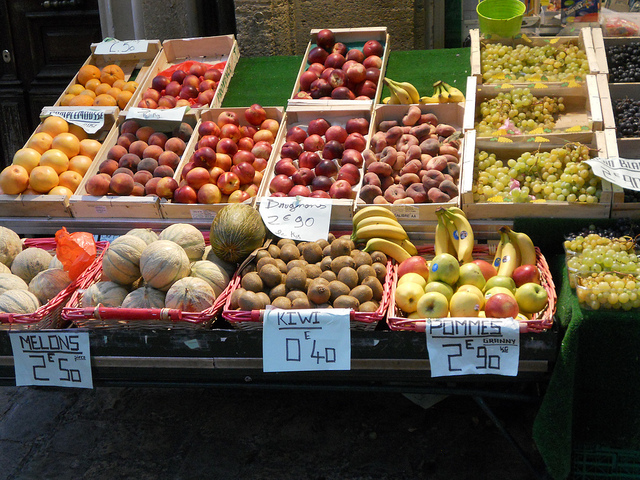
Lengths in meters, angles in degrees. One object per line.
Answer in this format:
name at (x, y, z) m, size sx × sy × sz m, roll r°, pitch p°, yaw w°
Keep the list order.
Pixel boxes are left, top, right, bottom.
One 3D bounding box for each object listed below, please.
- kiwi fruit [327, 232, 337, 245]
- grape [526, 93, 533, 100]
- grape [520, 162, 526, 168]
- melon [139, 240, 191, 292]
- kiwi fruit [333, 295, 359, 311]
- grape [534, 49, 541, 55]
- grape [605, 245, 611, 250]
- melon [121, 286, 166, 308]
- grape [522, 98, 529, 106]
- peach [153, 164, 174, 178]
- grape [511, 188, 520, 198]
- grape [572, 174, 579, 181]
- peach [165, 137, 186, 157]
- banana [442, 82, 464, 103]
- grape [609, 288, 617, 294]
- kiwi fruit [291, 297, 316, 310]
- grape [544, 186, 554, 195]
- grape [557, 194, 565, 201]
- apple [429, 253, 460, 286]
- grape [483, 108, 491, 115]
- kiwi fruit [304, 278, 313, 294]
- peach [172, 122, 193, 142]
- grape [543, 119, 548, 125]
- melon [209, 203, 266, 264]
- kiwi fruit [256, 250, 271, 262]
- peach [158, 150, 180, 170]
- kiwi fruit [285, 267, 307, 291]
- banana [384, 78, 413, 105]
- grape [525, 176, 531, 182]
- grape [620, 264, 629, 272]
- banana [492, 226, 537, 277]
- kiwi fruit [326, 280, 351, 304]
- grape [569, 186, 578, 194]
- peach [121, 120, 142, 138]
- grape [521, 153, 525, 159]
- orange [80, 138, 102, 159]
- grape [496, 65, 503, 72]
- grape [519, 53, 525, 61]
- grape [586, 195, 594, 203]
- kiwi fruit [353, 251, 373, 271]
kiwi fruit at (0.069, -0.010, 2.911) m, size 0.056 × 0.049 × 0.080 m, roll -1°, pitch 2°, yaw -2°
grape at (1.422, -0.982, 3.465) m, size 0.029 × 0.045 × 0.031 m, roll -18°, pitch 22°, yaw -11°
grape at (1.232, -0.460, 3.102) m, size 0.030 × 0.031 × 0.035 m, roll -37°, pitch 18°, yaw 13°
melon at (-0.829, 0.176, 2.776) m, size 0.234 × 0.284 × 0.248 m, roll 9°, pitch -16°, yaw -36°
kiwi fruit at (0.131, 0.302, 2.505) m, size 0.088 × 0.077 × 0.070 m, roll 1°, pitch 1°, yaw 13°
grape at (1.619, -1.408, 3.801) m, size 0.043 × 0.031 × 0.042 m, roll 8°, pitch 28°, yaw 22°
grape at (1.435, 0.036, 2.548) m, size 0.019 × 0.024 × 0.028 m, roll 1°, pitch 8°, yaw 3°
melon at (-0.911, 0.304, 2.665) m, size 0.126 × 0.143 × 0.145 m, roll 1°, pitch 49°, yaw -3°
grape at (1.384, -0.936, 3.442) m, size 0.039 × 0.049 × 0.038 m, roll -19°, pitch 15°, yaw -36°
peach at (-1.058, -0.467, 3.500) m, size 0.100 × 0.106 × 0.115 m, roll -24°, pitch 1°, yaw -37°
grape at (1.120, -0.274, 2.937) m, size 0.037 × 0.050 × 0.040 m, roll -6°, pitch 12°, yaw -27°
grape at (1.457, -0.360, 2.916) m, size 0.029 × 0.030 × 0.032 m, roll -39°, pitch 16°, yaw -16°
peach at (-1.016, -0.674, 3.633) m, size 0.115 × 0.132 × 0.145 m, roll -7°, pitch 16°, yaw -6°
banana at (0.971, -1.066, 3.682) m, size 0.137 × 0.105 × 0.237 m, roll -2°, pitch 26°, yaw 2°
grape at (1.333, 0.230, 2.318) m, size 0.018 × 0.014 × 0.023 m, roll 0°, pitch 8°, yaw -8°
kiwi fruit at (-0.084, 0.300, 2.525) m, size 0.081 × 0.071 × 0.063 m, roll 1°, pitch 2°, yaw -21°
grape at (1.328, -0.294, 2.971) m, size 0.042 × 0.052 × 0.041 m, roll -38°, pitch 25°, yaw -23°
grape at (1.378, -0.246, 2.921) m, size 0.027 × 0.038 × 0.028 m, roll -7°, pitch 5°, yaw -19°
apple at (0.639, 0.150, 2.638) m, size 0.146 × 0.192 × 0.188 m, roll -6°, pitch 22°, yaw 23°
grape at (1.137, -0.881, 3.479) m, size 0.035 × 0.041 × 0.035 m, roll 20°, pitch 31°, yaw 24°
kiwi fruit at (-0.053, 0.235, 2.642) m, size 0.048 × 0.029 × 0.050 m, roll -28°, pitch 47°, yaw -16°
peach at (-0.996, -0.798, 3.737) m, size 0.137 × 0.153 × 0.133 m, roll 11°, pitch 5°, yaw -17°
grape at (1.513, -0.804, 3.433) m, size 0.019 × 0.025 × 0.047 m, roll 4°, pitch 27°, yaw 15°
melon at (-0.468, -0.051, 2.999) m, size 0.283 × 0.328 × 0.412 m, roll 7°, pitch 29°, yaw 0°
kiwi fruit at (-0.305, 0.074, 2.785) m, size 0.050 × 0.071 × 0.054 m, roll -10°, pitch 8°, yaw -1°
peach at (-1.039, -0.565, 3.614) m, size 0.114 × 0.136 × 0.122 m, roll -26°, pitch 8°, yaw 6°
kiwi fruit at (-0.117, 0.199, 2.680) m, size 0.095 × 0.134 × 0.103 m, roll 8°, pitch -26°, yaw -25°
banana at (0.576, -1.074, 3.701) m, size 0.195 × 0.178 × 0.098 m, roll 1°, pitch 24°, yaw 10°
grape at (1.266, -0.377, 3.102) m, size 0.023 × 0.024 × 0.027 m, roll -41°, pitch 16°, yaw -3°
grape at (1.449, 0.130, 2.436) m, size 0.030 × 0.033 × 0.032 m, roll -19°, pitch -2°, yaw 2°
banana at (1.062, 0.061, 2.762) m, size 0.167 × 0.139 × 0.327 m, roll -7°, pitch 47°, yaw 16°
kiwi fruit at (0.093, 0.249, 2.568) m, size 0.083 × 0.087 × 0.106 m, roll -33°, pitch 28°, yaw -29°
grape at (1.445, -0.291, 2.916) m, size 0.043 × 0.037 × 0.027 m, roll -15°, pitch 27°, yaw -22°
peach at (-1.399, -0.845, 3.865) m, size 0.110 × 0.133 × 0.117 m, roll 16°, pitch -12°, yaw 11°
grape at (1.246, -0.519, 3.131) m, size 0.010 × 0.026 × 0.026 m, roll 6°, pitch 27°, yaw 20°
orange at (-1.685, -0.676, 3.767) m, size 0.091 × 0.108 × 0.101 m, roll -41°, pitch 23°, yaw 46°
grape at (1.331, -1.276, 3.775) m, size 0.043 × 0.027 × 0.023 m, roll 29°, pitch 10°, yaw 21°
grape at (1.495, -1.362, 3.781) m, size 0.055 × 0.054 × 0.016 m, roll -18°, pitch 27°, yaw -28°
grape at (1.507, -0.233, 2.854) m, size 0.032 × 0.045 × 0.035 m, roll 0°, pitch 5°, yaw 4°
kiwi fruit at (0.237, 0.115, 2.708) m, size 0.069 × 0.084 × 0.100 m, roll 0°, pitch 5°, yaw 1°
